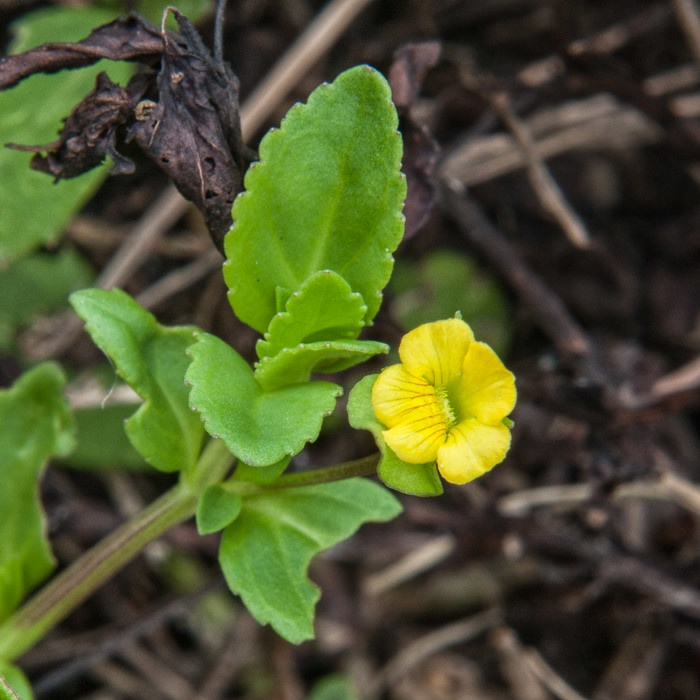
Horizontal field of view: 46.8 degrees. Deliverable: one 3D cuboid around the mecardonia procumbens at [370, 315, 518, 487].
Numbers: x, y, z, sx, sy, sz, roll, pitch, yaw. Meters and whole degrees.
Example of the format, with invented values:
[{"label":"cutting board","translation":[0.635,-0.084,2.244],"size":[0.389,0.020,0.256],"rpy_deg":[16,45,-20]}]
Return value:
[{"label":"mecardonia procumbens","translation":[0.286,0.115,2.258],"size":[0.513,0.238,0.418],"rpy_deg":[10,96,12]}]
